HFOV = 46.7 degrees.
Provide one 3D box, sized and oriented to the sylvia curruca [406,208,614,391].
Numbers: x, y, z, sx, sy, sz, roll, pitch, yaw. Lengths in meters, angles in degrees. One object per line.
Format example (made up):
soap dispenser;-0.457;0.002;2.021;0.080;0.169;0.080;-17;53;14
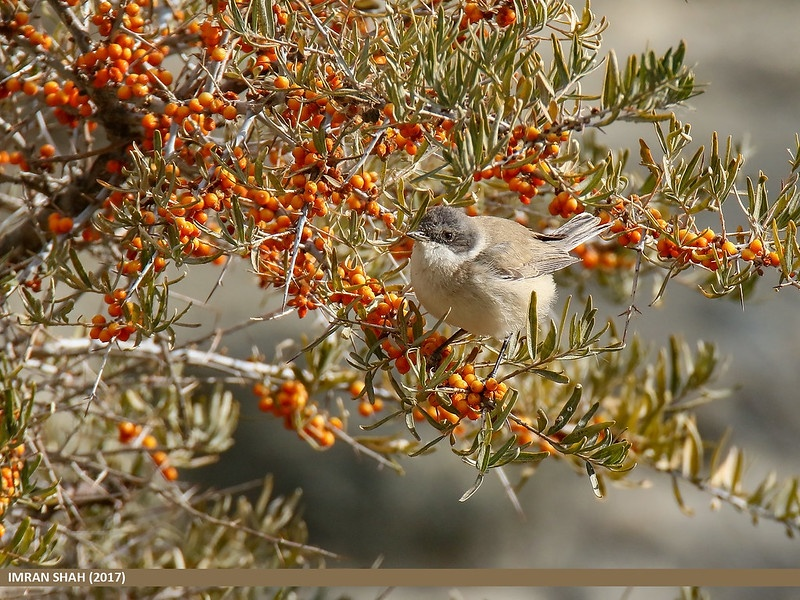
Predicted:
sylvia curruca;0.457;-0.143;3.975;1.061;0.685;0.509;-21;29;-36
